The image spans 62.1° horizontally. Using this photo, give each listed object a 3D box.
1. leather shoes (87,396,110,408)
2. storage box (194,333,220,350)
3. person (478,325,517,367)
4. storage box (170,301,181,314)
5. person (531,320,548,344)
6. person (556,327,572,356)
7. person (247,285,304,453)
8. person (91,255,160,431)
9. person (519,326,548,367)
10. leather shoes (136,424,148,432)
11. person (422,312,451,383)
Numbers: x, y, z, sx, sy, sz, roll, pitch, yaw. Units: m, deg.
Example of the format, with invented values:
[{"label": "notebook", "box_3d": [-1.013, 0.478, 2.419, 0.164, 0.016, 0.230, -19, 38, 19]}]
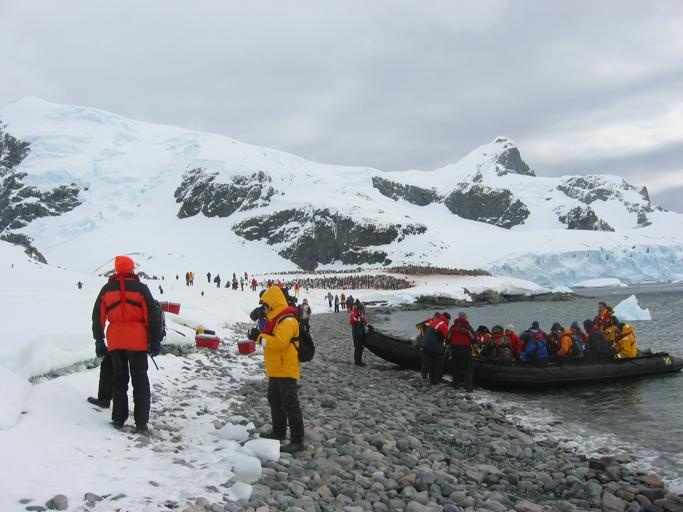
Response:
[{"label": "leather shoes", "box_3d": [-4.913, 2.981, 11.681, 0.507, 0.177, 0.174, 15, 0, 22]}, {"label": "storage box", "box_3d": [-3.942, 2.595, 17.455, 0.628, 0.307, 0.567, 2, -1, 16]}, {"label": "person", "box_3d": [4.991, 2.713, 17.842, 1.304, 1.056, 1.032, 3, 6, -21]}, {"label": "storage box", "box_3d": [-5.610, 1.809, 19.402, 0.321, 0.440, 1.002, 4, 5, -17]}, {"label": "person", "box_3d": [6.428, 2.395, 18.163, 0.602, 0.705, 0.675, -10, -45, 13]}, {"label": "person", "box_3d": [6.913, 2.658, 17.750, 0.586, 0.794, 0.999, 3, 0, 32]}, {"label": "person", "box_3d": [-1.200, 2.268, 11.384, 1.150, 3.369, 0.853, 1, 8, -38]}, {"label": "person", "box_3d": [-4.152, 1.705, 11.186, 1.251, 3.407, 0.492, 7, 7, 7]}, {"label": "person", "box_3d": [6.086, 2.881, 18.118, 0.998, 1.017, 1.034, 2, 0, 14]}, {"label": "leather shoes", "box_3d": [-3.884, 3.355, 11.205, 0.181, 0.062, 0.213, 8, -6, -12]}, {"label": "person", "box_3d": [2.839, 2.794, 17.391, 0.757, 2.249, 0.937, 7, 6, 9]}]
